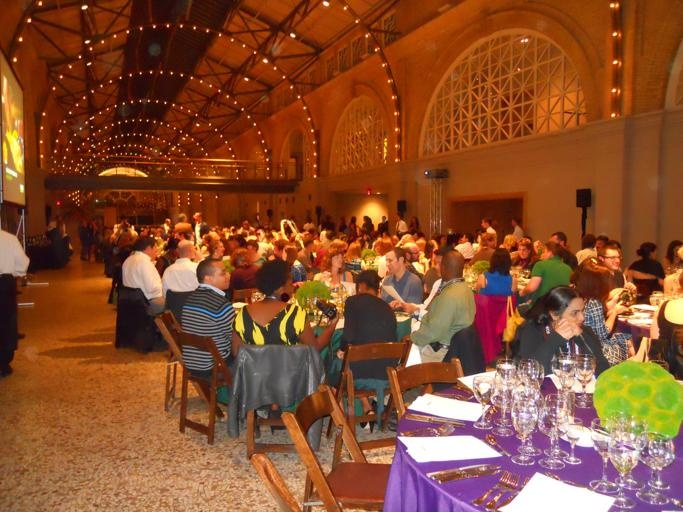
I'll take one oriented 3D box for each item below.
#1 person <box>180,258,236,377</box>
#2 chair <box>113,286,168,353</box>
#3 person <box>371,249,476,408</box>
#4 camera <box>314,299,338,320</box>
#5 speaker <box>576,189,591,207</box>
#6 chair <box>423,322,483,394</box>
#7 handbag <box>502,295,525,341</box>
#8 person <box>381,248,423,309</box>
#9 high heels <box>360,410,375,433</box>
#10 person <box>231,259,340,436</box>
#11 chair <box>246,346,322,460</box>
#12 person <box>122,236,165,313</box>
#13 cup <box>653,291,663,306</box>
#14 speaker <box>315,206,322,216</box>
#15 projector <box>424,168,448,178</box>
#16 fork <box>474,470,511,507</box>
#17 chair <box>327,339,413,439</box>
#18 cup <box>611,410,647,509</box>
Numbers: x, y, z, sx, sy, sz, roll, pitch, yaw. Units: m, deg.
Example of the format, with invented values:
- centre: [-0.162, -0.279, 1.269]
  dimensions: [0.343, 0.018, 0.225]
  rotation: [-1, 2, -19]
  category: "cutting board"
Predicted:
- centre: [-1.326, 0.590, 5.347]
  dimensions: [0.520, 1.115, 0.539]
  rotation: [-3, 13, -15]
  category: "person"
- centre: [-2.869, 0.898, 7.573]
  dimensions: [0.756, 1.167, 0.572]
  rotation: [4, 7, 37]
  category: "chair"
- centre: [0.998, 0.890, 5.500]
  dimensions: [0.691, 1.881, 0.810]
  rotation: [-5, 20, -30]
  category: "person"
- centre: [-0.146, 0.536, 5.142]
  dimensions: [0.196, 0.085, 0.167]
  rotation: [23, -24, 37]
  category: "camera"
- centre: [5.342, -1.289, 11.667]
  dimensions: [0.326, 0.420, 0.290]
  rotation: [3, 9, 26]
  category: "speaker"
- centre: [1.088, 0.983, 5.117]
  dimensions: [0.540, 0.798, 0.520]
  rotation: [-5, -8, 35]
  category: "chair"
- centre: [1.886, 0.681, 5.872]
  dimensions: [0.208, 0.198, 0.417]
  rotation: [21, 42, -10]
  category: "handbag"
- centre: [0.699, 0.319, 6.448]
  dimensions: [0.492, 0.870, 0.525]
  rotation: [-10, 8, -22]
  category: "person"
- centre: [0.255, 1.629, 5.135]
  dimensions: [0.111, 0.105, 0.226]
  rotation: [-4, 16, -9]
  category: "high heels"
- centre: [-0.482, 0.792, 4.797]
  dimensions: [0.947, 1.525, 0.752]
  rotation: [-4, 5, -12]
  category: "person"
- centre: [-0.530, 1.192, 4.491]
  dimensions: [0.828, 1.075, 0.747]
  rotation: [-1, 1, -12]
  category: "chair"
- centre: [-2.981, 0.313, 7.888]
  dimensions: [0.615, 1.287, 0.822]
  rotation: [-3, 14, -40]
  category: "person"
- centre: [3.509, 0.474, 5.871]
  dimensions: [0.116, 0.145, 0.124]
  rotation: [0, -3, 0]
  category: "cup"
- centre: [-1.020, -1.967, 23.048]
  dimensions: [0.292, 0.586, 0.324]
  rotation: [0, 2, -2]
  category: "speaker"
- centre: [2.843, -2.472, 15.861]
  dimensions: [0.698, 0.341, 0.463]
  rotation: [0, 8, 6]
  category: "projector"
- centre: [0.776, 1.194, 2.690]
  dimensions: [0.086, 0.044, 0.274]
  rotation: [9, 29, 39]
  category: "fork"
- centre: [0.262, 1.126, 5.035]
  dimensions: [0.687, 1.229, 0.825]
  rotation: [-2, 11, -12]
  category: "chair"
- centre: [1.445, 1.025, 2.699]
  dimensions: [0.155, 0.384, 0.333]
  rotation: [4, 9, 31]
  category: "cup"
